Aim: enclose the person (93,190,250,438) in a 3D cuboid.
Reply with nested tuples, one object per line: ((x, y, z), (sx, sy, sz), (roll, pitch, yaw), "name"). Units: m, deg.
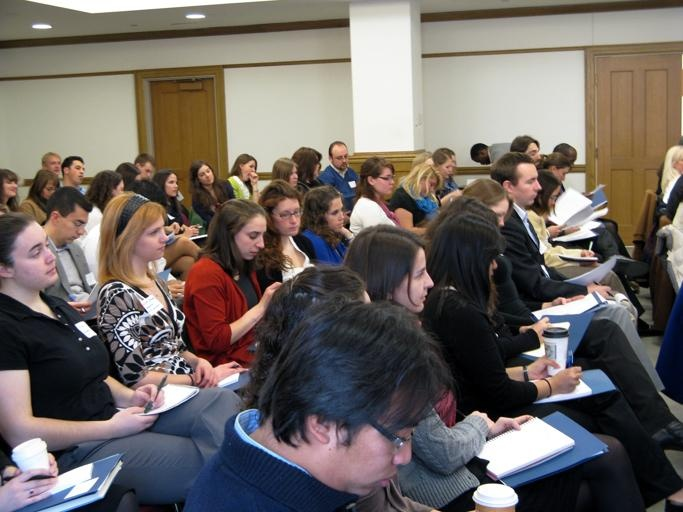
((-0.688, 0.135, 2.507), (0.838, 1.205, 0.670), (-4, 2, -13), "person")

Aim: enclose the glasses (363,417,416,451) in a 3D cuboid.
((0.082, 0.301, 0.841), (0.055, 0.016, 0.055), (39, 7, 11), "glasses")

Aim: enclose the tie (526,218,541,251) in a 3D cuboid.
((1.463, -0.154, 3.762), (0.045, 0.203, 0.195), (-25, 30, 8), "tie")

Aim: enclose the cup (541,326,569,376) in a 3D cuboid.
((0.983, 0.441, 2.299), (0.116, 0.209, 0.129), (-1, 3, 1), "cup")

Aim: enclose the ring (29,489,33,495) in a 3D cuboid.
((-0.900, 0.688, 1.450), (0.009, 0.010, 0.004), (-2, 9, -18), "ring")

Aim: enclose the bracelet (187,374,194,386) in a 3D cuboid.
((-0.678, 0.565, 2.250), (0.008, 0.034, 0.033), (-7, -4, -3), "bracelet")
